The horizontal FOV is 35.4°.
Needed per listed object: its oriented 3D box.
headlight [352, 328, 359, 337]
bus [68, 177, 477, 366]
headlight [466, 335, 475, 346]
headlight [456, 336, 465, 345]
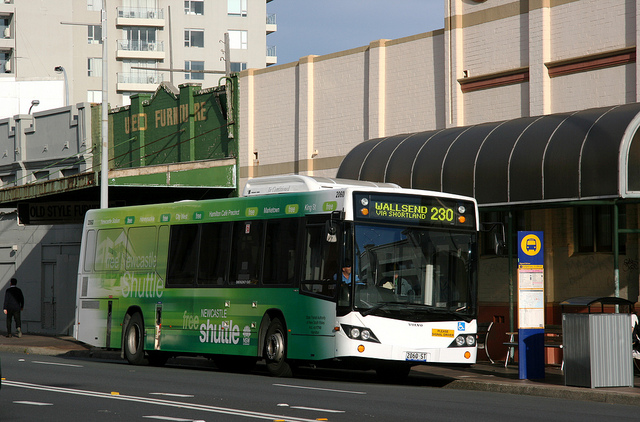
[{"bbox_3d":[0.889,3.124,25.671,0.202,0.216,0.048,-6,-3,0],"label":"headlight"},{"bbox_3d":[-2.182,2.195,32.120,4.800,5.524,15.880,7,-7,-35],"label":"bus"},{"bbox_3d":[4.017,3.459,26.790,0.284,0.282,0.062,7,-10,-41],"label":"headlight"},{"bbox_3d":[3.733,3.441,26.643,0.239,0.215,0.047,7,-10,-37],"label":"headlight"}]
